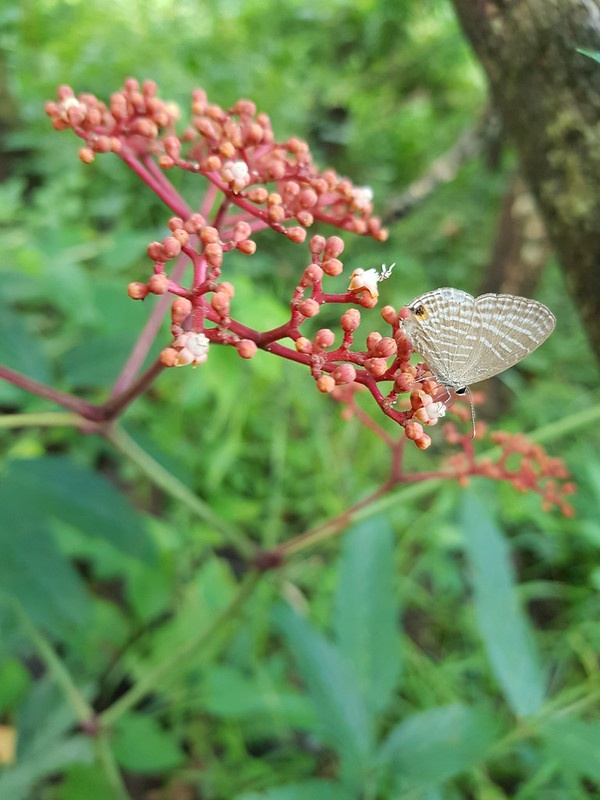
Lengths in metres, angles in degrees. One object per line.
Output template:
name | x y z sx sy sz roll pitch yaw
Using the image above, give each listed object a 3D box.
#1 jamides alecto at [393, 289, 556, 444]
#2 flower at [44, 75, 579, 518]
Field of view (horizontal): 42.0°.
jamides alecto | 0.134 -0.050 0.839 0.138 0.130 0.172 41 22 26
flower | -0.012 -0.131 0.914 0.530 0.487 0.425 -5 10 -3
